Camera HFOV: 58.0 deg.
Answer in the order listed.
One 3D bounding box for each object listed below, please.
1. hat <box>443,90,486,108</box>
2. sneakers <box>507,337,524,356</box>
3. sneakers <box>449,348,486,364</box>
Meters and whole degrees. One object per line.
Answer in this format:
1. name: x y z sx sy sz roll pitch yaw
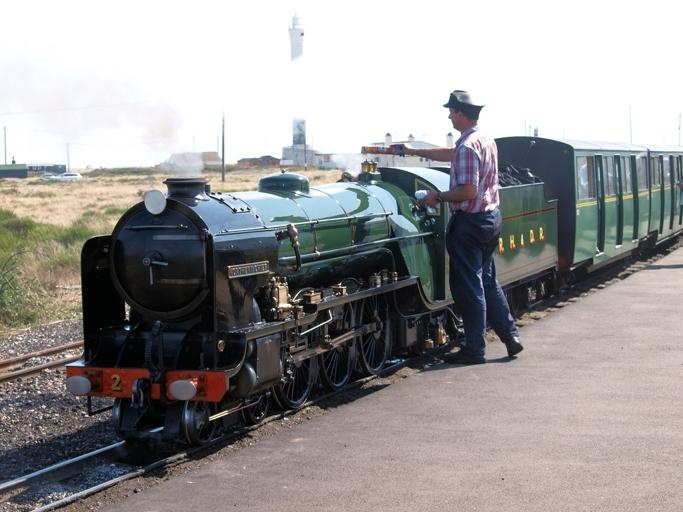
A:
1. hat: 1.457 -1.954 7.505 0.421 0.219 0.729 -3 4 12
2. sneakers: 2.314 1.238 8.315 0.144 0.156 0.329 -4 -36 -2
3. sneakers: 1.619 1.293 8.131 0.492 0.216 0.198 5 4 22
